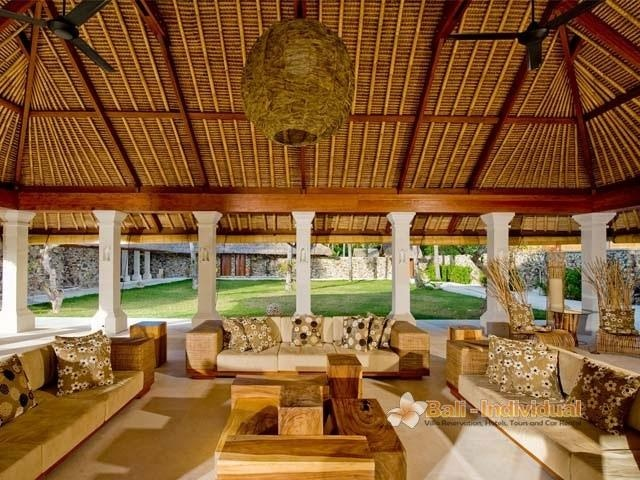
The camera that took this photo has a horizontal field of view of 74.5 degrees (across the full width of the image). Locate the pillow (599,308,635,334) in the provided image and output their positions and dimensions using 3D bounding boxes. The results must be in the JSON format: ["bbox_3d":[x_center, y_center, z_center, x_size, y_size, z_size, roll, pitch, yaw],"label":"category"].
[{"bbox_3d":[5.597,1.507,7.900,0.589,0.439,0.134,4,-9,31],"label":"pillow"}]

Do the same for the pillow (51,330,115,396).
[{"bbox_3d":[-3.200,1.619,5.655,0.864,0.640,0.356,-1,-13,-31],"label":"pillow"}]

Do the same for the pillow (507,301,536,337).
[{"bbox_3d":[3.735,1.457,7.813,0.429,0.561,0.666,-4,-5,23],"label":"pillow"}]

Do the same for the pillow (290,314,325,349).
[{"bbox_3d":[-0.218,1.550,7.142,0.646,0.444,0.174,2,-12,-1],"label":"pillow"}]

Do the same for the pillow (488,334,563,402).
[{"bbox_3d":[2.624,1.626,5.378,0.854,0.630,0.233,-2,-20,26],"label":"pillow"}]

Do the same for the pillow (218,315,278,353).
[{"bbox_3d":[-1.197,1.563,6.968,0.798,0.585,0.196,0,-29,-17],"label":"pillow"}]
